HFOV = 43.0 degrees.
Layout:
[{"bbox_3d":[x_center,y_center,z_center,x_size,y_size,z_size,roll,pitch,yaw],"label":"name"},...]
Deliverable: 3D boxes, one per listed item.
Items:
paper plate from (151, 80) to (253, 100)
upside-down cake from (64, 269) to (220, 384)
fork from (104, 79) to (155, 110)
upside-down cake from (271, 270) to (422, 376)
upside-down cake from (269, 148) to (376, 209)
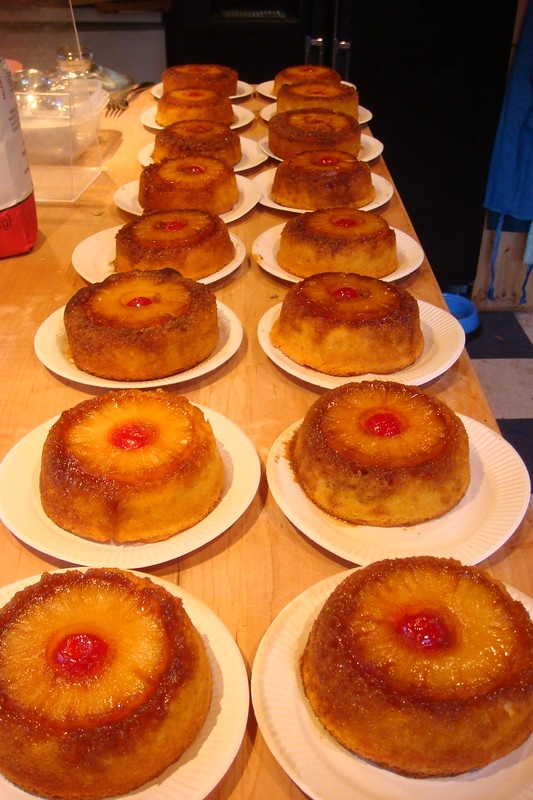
[{"bbox_3d":[-0.232,-1.184,2.615,0.292,0.059,0.266,-7,32,-12],"label":"paper plate"},{"bbox_3d":[-0.227,-0.150,1.235,0.287,0.092,0.274,20,41,24],"label":"upside-down cake"},{"bbox_3d":[-0.532,-1.173,2.603,0.069,0.050,0.359,28,39,-1],"label":"fork"},{"bbox_3d":[0.150,-0.155,1.261,0.302,0.096,0.272,15,38,18],"label":"upside-down cake"},{"bbox_3d":[0.156,-0.593,1.795,0.289,0.089,0.270,-19,42,-19],"label":"upside-down cake"}]
